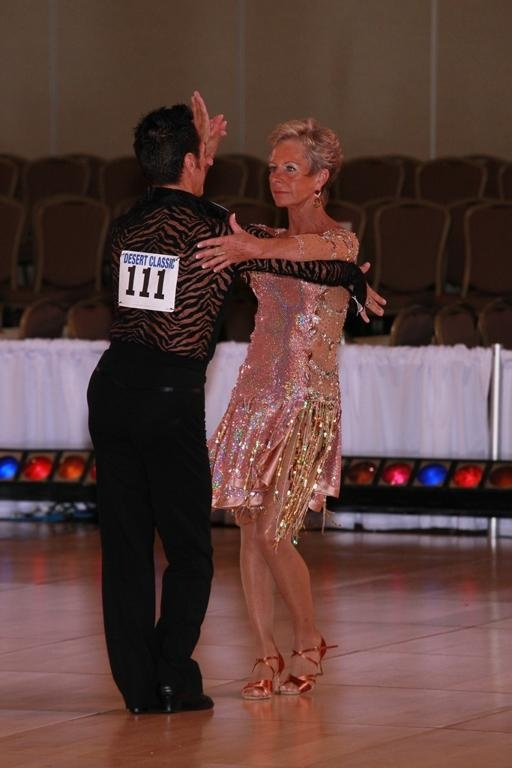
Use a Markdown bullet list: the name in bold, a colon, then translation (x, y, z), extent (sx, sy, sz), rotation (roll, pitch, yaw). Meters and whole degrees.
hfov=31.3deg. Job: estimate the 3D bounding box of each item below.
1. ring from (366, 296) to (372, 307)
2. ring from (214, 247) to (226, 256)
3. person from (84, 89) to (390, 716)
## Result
- **ring**: translation (0.264, -0.197, 2.158), extent (0.009, 0.031, 0.036), rotation (5, -3, 4)
- **ring**: translation (-0.064, -0.237, 1.633), extent (0.019, 0.015, 0.015), rotation (-1, -3, 31)
- **person**: translation (-0.090, 0.131, 1.719), extent (0.439, 0.995, 0.188), rotation (0, -2, -10)
